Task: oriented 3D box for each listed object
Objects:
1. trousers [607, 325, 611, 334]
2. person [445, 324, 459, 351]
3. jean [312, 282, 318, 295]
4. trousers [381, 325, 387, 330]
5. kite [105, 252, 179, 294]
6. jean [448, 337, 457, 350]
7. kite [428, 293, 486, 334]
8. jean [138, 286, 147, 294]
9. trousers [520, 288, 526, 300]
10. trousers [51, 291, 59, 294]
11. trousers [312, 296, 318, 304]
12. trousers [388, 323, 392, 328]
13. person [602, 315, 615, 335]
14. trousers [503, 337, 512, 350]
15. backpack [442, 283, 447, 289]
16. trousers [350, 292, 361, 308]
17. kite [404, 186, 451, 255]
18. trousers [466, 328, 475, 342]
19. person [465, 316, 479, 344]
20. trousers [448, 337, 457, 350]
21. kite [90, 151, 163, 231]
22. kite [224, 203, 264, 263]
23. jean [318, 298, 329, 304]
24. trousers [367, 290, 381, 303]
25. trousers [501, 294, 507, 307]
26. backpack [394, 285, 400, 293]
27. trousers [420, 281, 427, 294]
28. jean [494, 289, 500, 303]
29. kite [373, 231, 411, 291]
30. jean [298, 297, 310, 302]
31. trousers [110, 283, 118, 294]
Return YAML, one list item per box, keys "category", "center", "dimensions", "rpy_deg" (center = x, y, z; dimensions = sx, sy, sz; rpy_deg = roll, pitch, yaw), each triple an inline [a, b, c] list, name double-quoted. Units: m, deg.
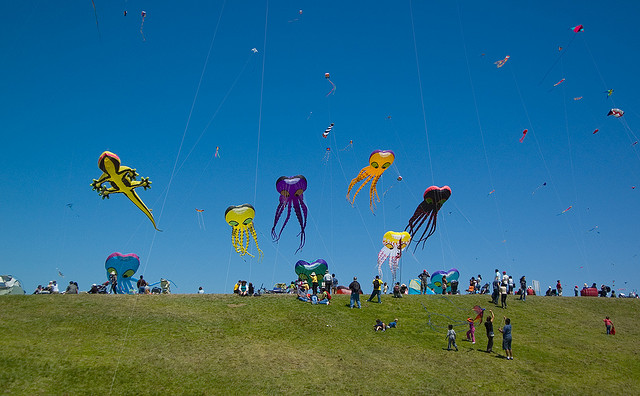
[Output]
- category: "trousers"
  center: [19.541, 8.811, 33.392]
  dimensions: [0.255, 0.534, 0.077]
  rpy_deg: [3, -15, -5]
- category: "person"
  center: [7.963, 8.368, 29.831]
  dimensions: [0.711, 1.510, 1.477]
  rpy_deg: [-2, -15, 12]
- category: "jean"
  center: [-0.386, 6.459, 35.719]
  dimensions: [0.291, 0.920, 0.598]
  rpy_deg: [4, -15, -8]
- category: "trousers"
  center: [4.069, 8.095, 31.119]
  dimensions: [0.484, 0.270, 0.163]
  rpy_deg: [13, -18, -39]
- category: "kite"
  center: [-16.777, 6.872, 41.869]
  dimensions: [3.883, 4.313, 0.594]
  rpy_deg: [12, -12, -38]
- category: "jean"
  center: [7.860, 8.600, 29.425]
  dimensions: [0.473, 0.729, 0.628]
  rpy_deg: [-3, -15, 15]
- category: "kite"
  center: [9.360, 7.861, 34.062]
  dimensions: [3.669, 2.675, 5.323]
  rpy_deg: [-2, -15, 14]
- category: "jean"
  center: [-13.226, 6.754, 36.674]
  dimensions: [0.734, 0.691, 0.402]
  rpy_deg: [-3, -15, 1]
- category: "trousers"
  center: [15.432, 7.253, 37.655]
  dimensions: [0.426, 0.851, 0.572]
  rpy_deg: [-3, -15, 18]
- category: "trousers"
  center: [-18.638, 6.590, 34.702]
  dimensions: [0.230, 0.265, 0.296]
  rpy_deg: [4, -10, -4]
- category: "trousers"
  center: [-0.380, 6.963, 34.082]
  dimensions: [0.315, 0.483, 0.402]
  rpy_deg: [0, -14, 4]
- category: "trousers"
  center: [4.456, 8.074, 31.498]
  dimensions: [0.123, 0.292, 0.295]
  rpy_deg: [1, 0, -25]
- category: "person"
  center: [20.054, 8.747, 34.195]
  dimensions: [0.584, 1.229, 2.254]
  rpy_deg: [-7, -16, 29]
- category: "trousers"
  center: [10.914, 8.425, 28.823]
  dimensions: [0.383, 0.718, 0.622]
  rpy_deg: [-2, -15, 11]
- category: "backpack"
  center: [10.046, 7.161, 40.197]
  dimensions: [0.156, 0.404, 0.292]
  rpy_deg: [12, 17, 29]
- category: "trousers"
  center: [2.485, 6.977, 34.112]
  dimensions: [0.886, 1.055, 0.794]
  rpy_deg: [5, -15, -15]
- category: "kite"
  center: [8.913, 1.392, 42.035]
  dimensions: [2.700, 2.657, 6.271]
  rpy_deg: [3, -52, -8]
- category: "trousers"
  center: [9.360, 8.444, 30.700]
  dimensions: [0.442, 0.786, 0.692]
  rpy_deg: [-2, -15, 14]
- category: "person"
  center: [9.663, 8.407, 31.495]
  dimensions: [0.833, 1.484, 2.876]
  rpy_deg: [-3, -15, 18]
- category: "trousers"
  center: [7.868, 8.638, 29.494]
  dimensions: [0.772, 0.955, 0.334]
  rpy_deg: [1, 27, 12]
- category: "kite"
  center: [-13.745, -1.396, 34.145]
  dimensions: [3.187, 3.411, 1.594]
  rpy_deg: [11, -17, -34]
- category: "kite"
  center: [-6.194, 2.943, 40.510]
  dimensions: [2.793, 5.022, 1.405]
  rpy_deg: [-8, 2, -16]
- category: "jean"
  center: [0.233, 7.056, 34.215]
  dimensions: [0.435, 0.367, 0.605]
  rpy_deg: [-7, -16, 30]
- category: "trousers"
  center: [3.907, 6.948, 35.143]
  dimensions: [0.977, 0.860, 1.046]
  rpy_deg: [8, -16, -25]
- category: "trousers"
  center: [13.368, 7.365, 35.889]
  dimensions: [0.368, 0.884, 1.154]
  rpy_deg: [-4, -15, 19]
- category: "backpack"
  center: [5.642, 6.692, 36.468]
  dimensions: [0.303, 0.468, 0.626]
  rpy_deg: [-3, -15, 15]
- category: "trousers"
  center: [8.261, 7.057, 39.352]
  dimensions: [0.373, 0.971, 1.076]
  rpy_deg: [0, -14, 4]
- category: "jean"
  center: [13.034, 7.159, 36.461]
  dimensions: [0.356, 0.972, 0.960]
  rpy_deg: [-4, -15, 18]
- category: "kite"
  center: [6.603, 5.298, 43.342]
  dimensions: [3.023, 5.065, 1.530]
  rpy_deg: [-2, 2, -19]
- category: "jean"
  center: [-1.144, 6.998, 34.461]
  dimensions: [0.776, 0.317, 0.409]
  rpy_deg: [0, -14, 5]
- category: "trousers"
  center: [-15.558, 6.718, 37.211]
  dimensions: [0.349, 0.714, 2.000]
  rpy_deg: [7, -15, -20]
